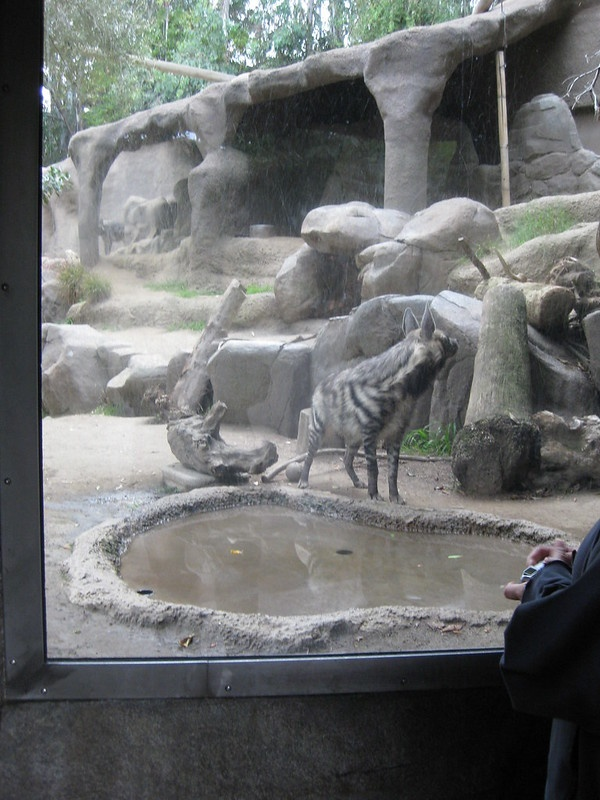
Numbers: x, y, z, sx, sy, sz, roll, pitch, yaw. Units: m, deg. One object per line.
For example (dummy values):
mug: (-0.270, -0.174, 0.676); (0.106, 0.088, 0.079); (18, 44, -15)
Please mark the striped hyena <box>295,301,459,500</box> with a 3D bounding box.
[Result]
striped hyena: (0.161, -0.014, 3.135); (0.467, 0.566, 0.132); (2, 0, 44)
